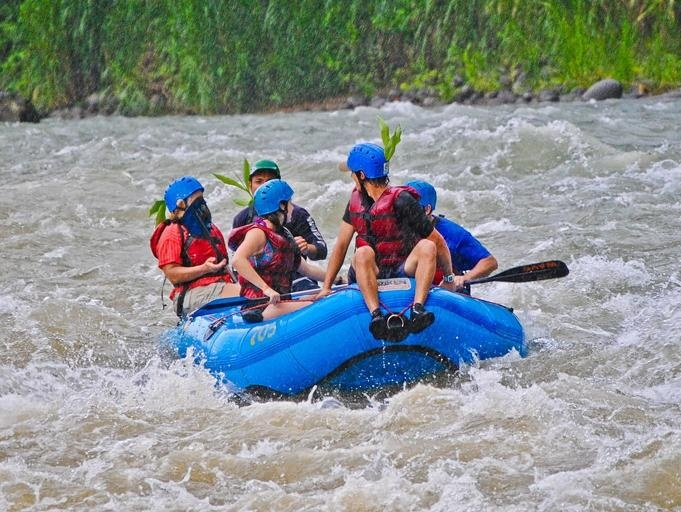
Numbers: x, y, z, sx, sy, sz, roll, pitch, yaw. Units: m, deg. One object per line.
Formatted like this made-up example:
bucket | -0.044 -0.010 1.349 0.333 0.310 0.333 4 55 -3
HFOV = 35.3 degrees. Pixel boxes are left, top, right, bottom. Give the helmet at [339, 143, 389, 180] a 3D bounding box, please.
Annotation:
helmet | 0.298 -1.046 12.299 0.474 0.278 0.376 31 42 23

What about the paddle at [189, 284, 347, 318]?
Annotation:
paddle | -0.827 0.546 12.574 1.503 0.176 0.197 -8 5 3

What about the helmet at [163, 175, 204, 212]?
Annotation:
helmet | -1.955 -0.744 13.103 0.514 0.356 0.369 -23 -9 1

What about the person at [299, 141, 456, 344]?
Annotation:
person | 0.506 -0.163 12.163 1.470 2.123 0.903 -4 15 5

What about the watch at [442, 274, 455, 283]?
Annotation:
watch | 1.265 0.275 12.551 0.118 0.070 0.116 0 -16 -1

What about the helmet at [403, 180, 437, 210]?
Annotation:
helmet | 0.989 -0.716 12.633 0.431 0.216 0.275 37 13 7

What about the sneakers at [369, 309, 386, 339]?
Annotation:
sneakers | 0.385 0.764 12.010 0.168 0.311 0.201 0 22 0
